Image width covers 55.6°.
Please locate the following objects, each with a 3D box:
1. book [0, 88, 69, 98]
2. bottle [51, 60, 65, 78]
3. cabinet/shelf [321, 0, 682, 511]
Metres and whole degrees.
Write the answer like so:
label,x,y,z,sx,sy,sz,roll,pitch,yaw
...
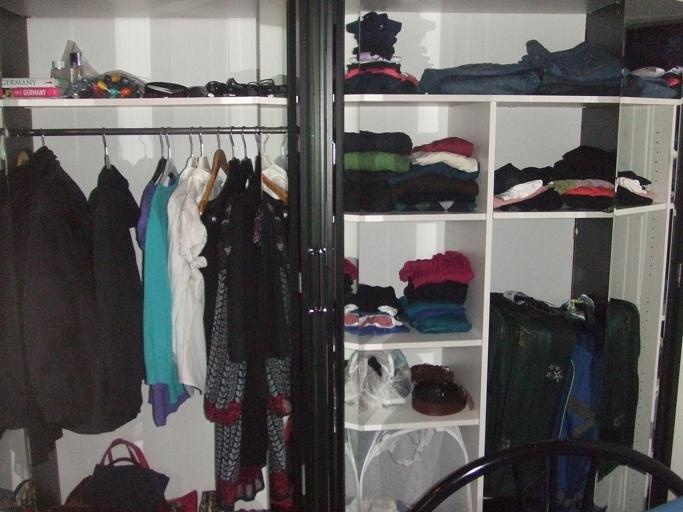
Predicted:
label,x,y,z,sx,sy,sz,roll,pitch,yaw
book,-1.039,-0.553,2.178,0.187,0.035,0.006,-1,8,-9
bottle,-0.955,-0.631,2.182,0.047,0.074,0.049,3,6,0
cabinet/shelf,0.654,0.045,2.402,1.260,1.970,0.383,-1,8,-4
